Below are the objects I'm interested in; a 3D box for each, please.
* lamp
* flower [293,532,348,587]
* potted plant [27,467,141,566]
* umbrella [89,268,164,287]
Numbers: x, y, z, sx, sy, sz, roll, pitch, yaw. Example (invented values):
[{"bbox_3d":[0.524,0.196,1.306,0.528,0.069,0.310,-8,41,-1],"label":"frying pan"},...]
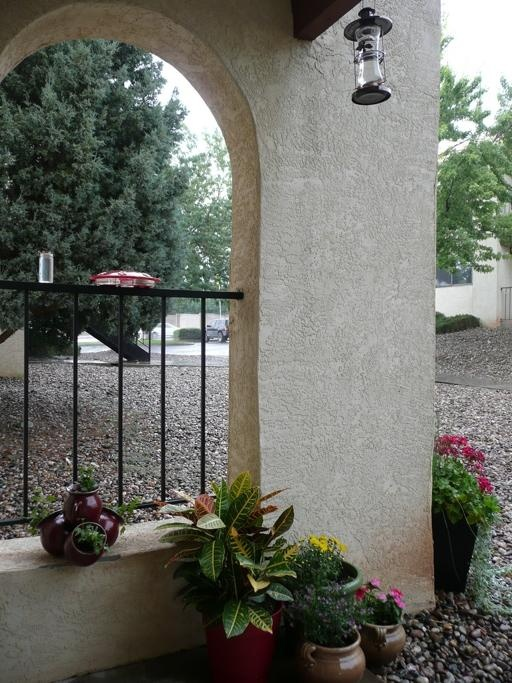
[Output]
[{"bbox_3d":[0.396,-1.012,2.065,0.160,0.361,0.205,0,-1,16],"label":"lamp"},{"bbox_3d":[0.226,0.798,2.111,0.207,0.212,0.170,6,-8,-32],"label":"flower"},{"bbox_3d":[-0.565,0.568,1.956,0.315,0.219,0.308,3,-6,-6],"label":"potted plant"},{"bbox_3d":[-0.495,-0.237,2.206,0.244,0.078,0.155,1,-1,-15],"label":"umbrella"}]
